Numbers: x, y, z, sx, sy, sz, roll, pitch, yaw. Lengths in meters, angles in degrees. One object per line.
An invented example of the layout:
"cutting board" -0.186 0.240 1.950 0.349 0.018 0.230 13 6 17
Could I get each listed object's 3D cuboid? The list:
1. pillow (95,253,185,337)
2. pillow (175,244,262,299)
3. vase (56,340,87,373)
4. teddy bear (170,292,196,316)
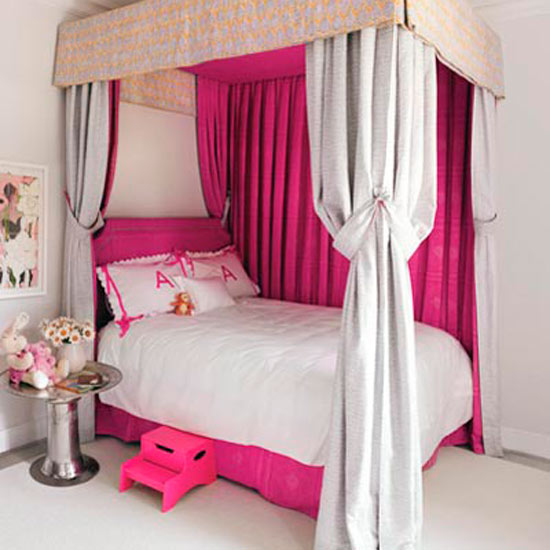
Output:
"pillow" -0.903 0.106 3.371 0.143 0.459 0.528 -25 -10 32
"pillow" -0.422 -0.015 4.105 0.494 0.379 0.146 -20 0 41
"vase" -1.113 0.447 2.872 0.171 0.181 0.135 -2 2 30
"teddy bear" -0.627 0.219 3.546 0.176 0.197 0.125 8 -17 -33
